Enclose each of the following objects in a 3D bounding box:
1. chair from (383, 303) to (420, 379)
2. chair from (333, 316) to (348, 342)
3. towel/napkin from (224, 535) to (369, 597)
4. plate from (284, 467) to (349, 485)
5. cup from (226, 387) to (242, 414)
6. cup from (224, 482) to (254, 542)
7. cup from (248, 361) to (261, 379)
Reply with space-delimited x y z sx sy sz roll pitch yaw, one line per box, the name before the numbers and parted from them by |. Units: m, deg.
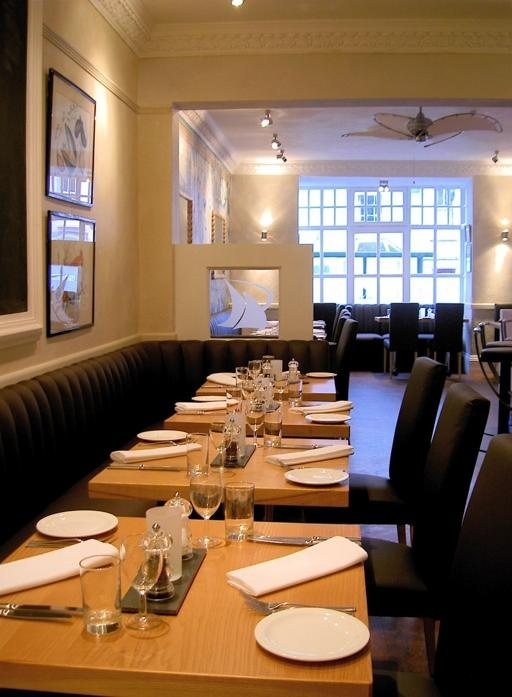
chair | 2.402 -0.168 9.081 0.414 1.197 0.578 6 4 0
chair | 1.089 -0.253 6.783 0.142 0.278 0.464 5 -23 5
towel/napkin | 0.091 0.408 1.078 0.195 0.036 0.104 -9 10 -31
plate | 0.194 0.410 1.680 0.197 0.033 0.171 0 5 6
cup | -0.113 0.282 2.790 0.104 0.190 0.107 1 -1 0
cup | -0.030 0.377 1.243 0.064 0.118 0.068 -2 1 0
cup | -0.006 0.125 3.069 0.075 0.139 0.082 0 -7 0
